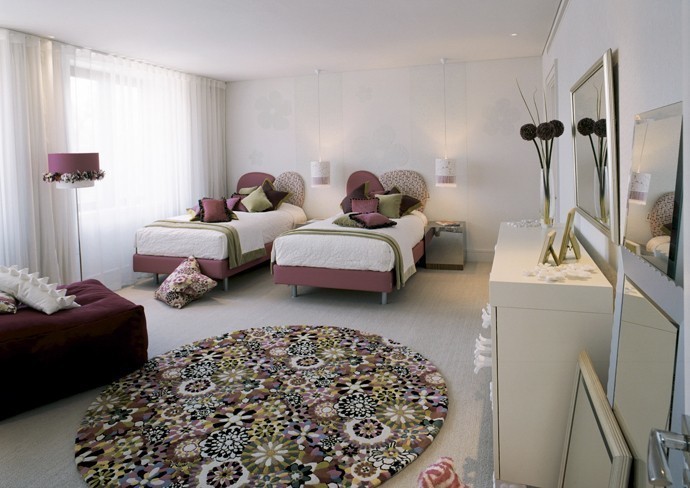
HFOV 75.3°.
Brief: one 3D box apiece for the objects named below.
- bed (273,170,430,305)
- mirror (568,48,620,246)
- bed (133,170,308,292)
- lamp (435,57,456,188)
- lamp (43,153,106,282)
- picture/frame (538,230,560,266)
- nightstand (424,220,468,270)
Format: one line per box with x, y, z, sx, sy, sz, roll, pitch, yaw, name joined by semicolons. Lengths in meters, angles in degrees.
0.289;-0.237;5.863;1.588;1.246;2.273;3;9;21;bed
1.494;-0.560;2.670;0.045;0.886;1.335;-4;10;22;mirror
-1.611;-0.337;6.436;1.526;1.149;2.244;3;8;21;bed
1.470;-1.739;6.323;0.268;1.750;0.730;2;15;11;lamp
-3.045;-0.283;5.101;0.576;1.506;0.592;-10;17;-31;lamp
1.173;0.022;2.518;0.101;0.153;0.173;-1;7;32;picture/frame
1.409;0.021;6.477;0.693;0.604;0.665;0;3;8;nightstand
